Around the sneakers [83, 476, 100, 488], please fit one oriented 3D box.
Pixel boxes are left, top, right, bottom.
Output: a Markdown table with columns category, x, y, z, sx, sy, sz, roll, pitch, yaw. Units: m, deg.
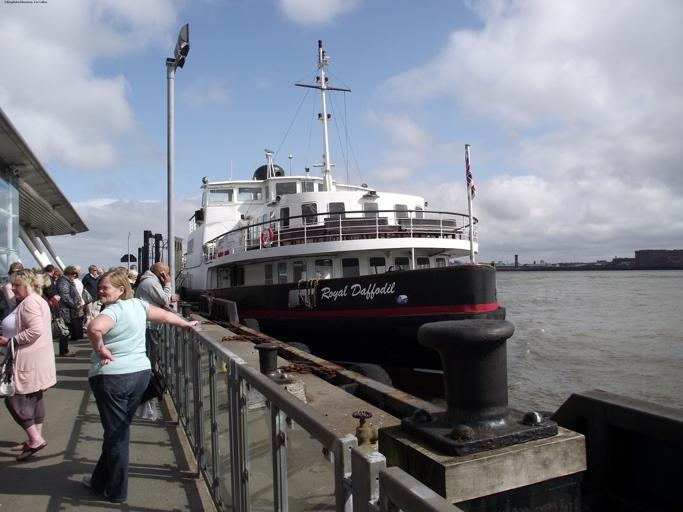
| category | x | y | z | sx | sy | sz | roll | pitch | yaw |
| --- | --- | --- | --- | --- | --- | --- | --- | --- | --- |
| sneakers | -2.455 | 2.218 | 5.207 | 0.087 | 0.092 | 0.215 | 12 | 0 | -41 |

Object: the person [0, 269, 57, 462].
| category | x | y | z | sx | sy | sz | roll | pitch | yaw |
| --- | --- | --- | --- | --- | --- | --- | --- | --- | --- |
| person | -3.356 | 1.169 | 5.684 | 0.541 | 1.571 | 0.356 | -8 | 6 | -17 |

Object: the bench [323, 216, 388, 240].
| category | x | y | z | sx | sy | sz | roll | pitch | yaw |
| --- | --- | --- | --- | --- | --- | --- | --- | --- | --- |
| bench | 0.379 | -0.687 | 13.374 | 1.613 | 0.564 | 0.682 | -6 | 6 | 5 |

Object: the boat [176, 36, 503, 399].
| category | x | y | z | sx | sy | sz | roll | pitch | yaw |
| --- | --- | --- | --- | --- | --- | --- | --- | --- | --- |
| boat | -1.749 | -1.200 | 20.413 | 7.025 | 8.871 | 20.566 | -2 | 0 | -28 |

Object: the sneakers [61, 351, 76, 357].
| category | x | y | z | sx | sy | sz | roll | pitch | yaw |
| --- | --- | --- | --- | --- | --- | --- | --- | --- | --- |
| sneakers | -5.548 | 2.005 | 10.753 | 0.232 | 0.099 | 0.120 | 0 | 3 | -13 |

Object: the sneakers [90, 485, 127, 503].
| category | x | y | z | sx | sy | sz | roll | pitch | yaw |
| --- | --- | --- | --- | --- | --- | --- | --- | --- | --- |
| sneakers | -2.192 | 2.259 | 5.038 | 0.369 | 0.153 | 0.123 | -4 | -11 | 31 |
